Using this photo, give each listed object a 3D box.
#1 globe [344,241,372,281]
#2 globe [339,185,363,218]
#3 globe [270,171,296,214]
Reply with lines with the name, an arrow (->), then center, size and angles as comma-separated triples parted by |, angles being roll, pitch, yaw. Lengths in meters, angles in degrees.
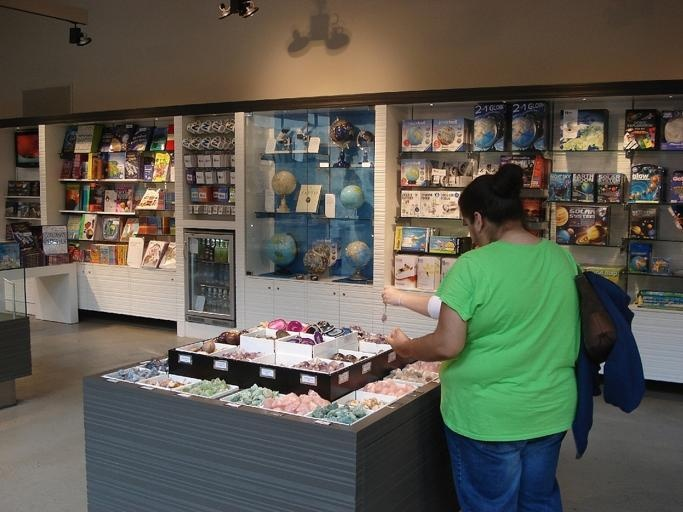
globe -> 0.246, 0.062, 6.540 | 0.330, 0.511, 0.153 | 2, 7, 10
globe -> 0.117, -0.689, 6.478 | 0.407, 0.430, 0.379 | 0, -3, -2
globe -> -0.695, -0.869, 6.956 | 0.368, 0.515, 0.345 | 8, 0, 7
